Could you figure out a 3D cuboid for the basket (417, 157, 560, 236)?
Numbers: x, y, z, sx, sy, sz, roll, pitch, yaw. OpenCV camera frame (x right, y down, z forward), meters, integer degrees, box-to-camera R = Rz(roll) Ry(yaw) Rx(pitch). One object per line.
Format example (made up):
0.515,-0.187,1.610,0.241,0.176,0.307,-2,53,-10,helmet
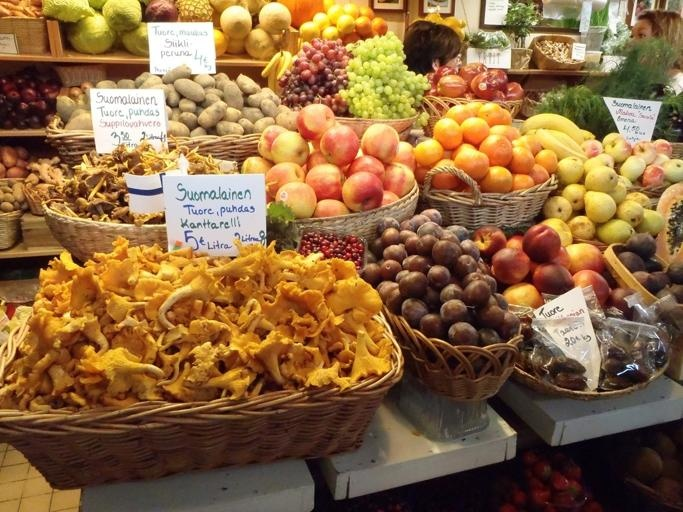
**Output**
0.629,-0.352,2.435,0.579,0.302,0.444,-7,23,-15,basket

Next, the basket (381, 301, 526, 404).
0.375,0.364,1.910,0.472,0.272,0.415,-4,16,-19,basket

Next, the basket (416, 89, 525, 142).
0.694,-0.941,3.197,0.834,0.307,0.505,-2,23,-9,basket

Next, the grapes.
0.073,-0.910,2.680,0.585,0.395,0.647,-2,15,-41,grapes

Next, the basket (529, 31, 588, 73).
2.012,-1.918,4.935,0.376,0.152,0.456,5,44,1,basket
